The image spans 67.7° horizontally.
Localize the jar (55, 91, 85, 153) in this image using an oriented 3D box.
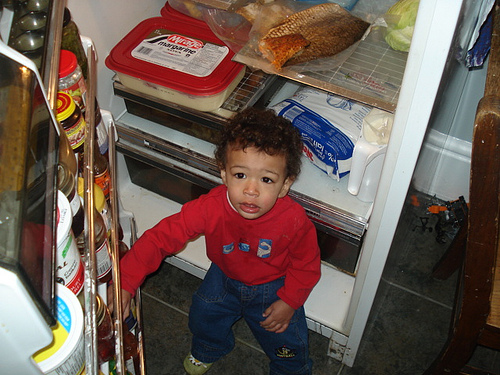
[{"bbox_3d":[-0.363,-0.138,0.812,0.076,0.128,0.072,2,47,-2],"label":"jar"}]
